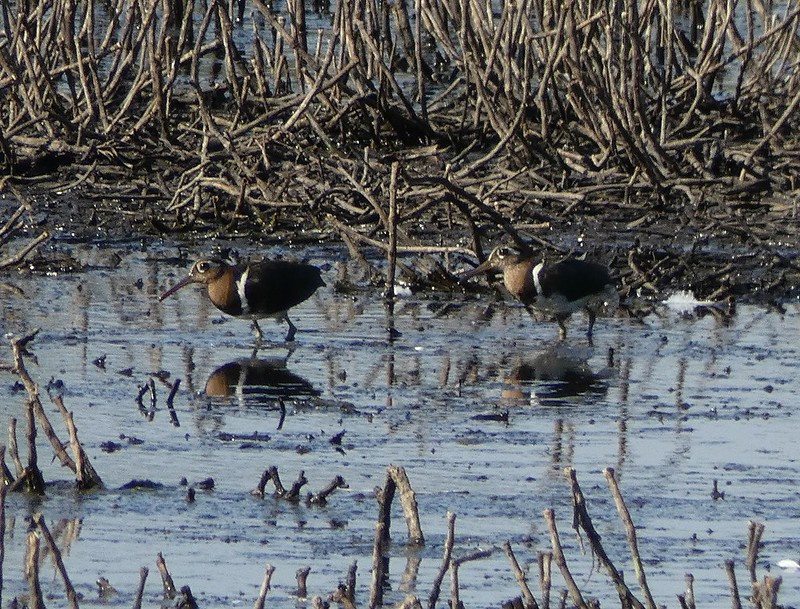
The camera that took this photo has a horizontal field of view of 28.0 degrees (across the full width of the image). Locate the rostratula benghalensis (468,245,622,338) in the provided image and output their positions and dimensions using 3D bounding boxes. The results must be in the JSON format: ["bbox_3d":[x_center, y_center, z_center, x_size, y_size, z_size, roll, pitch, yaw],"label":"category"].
[{"bbox_3d":[1.137,-0.074,12.839,1.263,0.807,0.613,-13,2,-27],"label":"rostratula benghalensis"}]
